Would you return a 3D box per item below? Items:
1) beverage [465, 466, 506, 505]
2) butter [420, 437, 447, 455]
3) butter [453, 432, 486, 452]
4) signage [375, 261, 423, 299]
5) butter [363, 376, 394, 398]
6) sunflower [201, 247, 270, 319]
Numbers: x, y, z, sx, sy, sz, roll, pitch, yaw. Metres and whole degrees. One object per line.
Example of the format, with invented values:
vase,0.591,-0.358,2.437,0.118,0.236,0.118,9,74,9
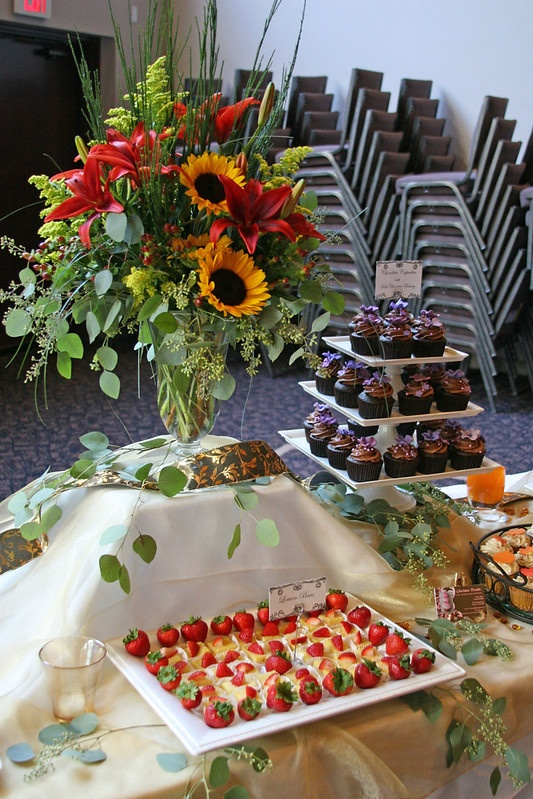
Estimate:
beverage,0.543,0.217,1.487,0.120,0.112,0.119,0,0,0
butter,0.361,0.100,1.276,0.047,0.020,0.046,-2,23,5
butter,0.454,0.096,1.312,0.052,0.022,0.051,-2,27,1
signage,0.292,-0.268,1.303,0.146,0.117,0.015,-7,17,-24
butter,0.233,-0.024,1.222,0.048,0.021,0.047,1,31,2
sunflower,-0.042,-0.133,0.747,0.093,0.092,0.033,2,-16,-35
